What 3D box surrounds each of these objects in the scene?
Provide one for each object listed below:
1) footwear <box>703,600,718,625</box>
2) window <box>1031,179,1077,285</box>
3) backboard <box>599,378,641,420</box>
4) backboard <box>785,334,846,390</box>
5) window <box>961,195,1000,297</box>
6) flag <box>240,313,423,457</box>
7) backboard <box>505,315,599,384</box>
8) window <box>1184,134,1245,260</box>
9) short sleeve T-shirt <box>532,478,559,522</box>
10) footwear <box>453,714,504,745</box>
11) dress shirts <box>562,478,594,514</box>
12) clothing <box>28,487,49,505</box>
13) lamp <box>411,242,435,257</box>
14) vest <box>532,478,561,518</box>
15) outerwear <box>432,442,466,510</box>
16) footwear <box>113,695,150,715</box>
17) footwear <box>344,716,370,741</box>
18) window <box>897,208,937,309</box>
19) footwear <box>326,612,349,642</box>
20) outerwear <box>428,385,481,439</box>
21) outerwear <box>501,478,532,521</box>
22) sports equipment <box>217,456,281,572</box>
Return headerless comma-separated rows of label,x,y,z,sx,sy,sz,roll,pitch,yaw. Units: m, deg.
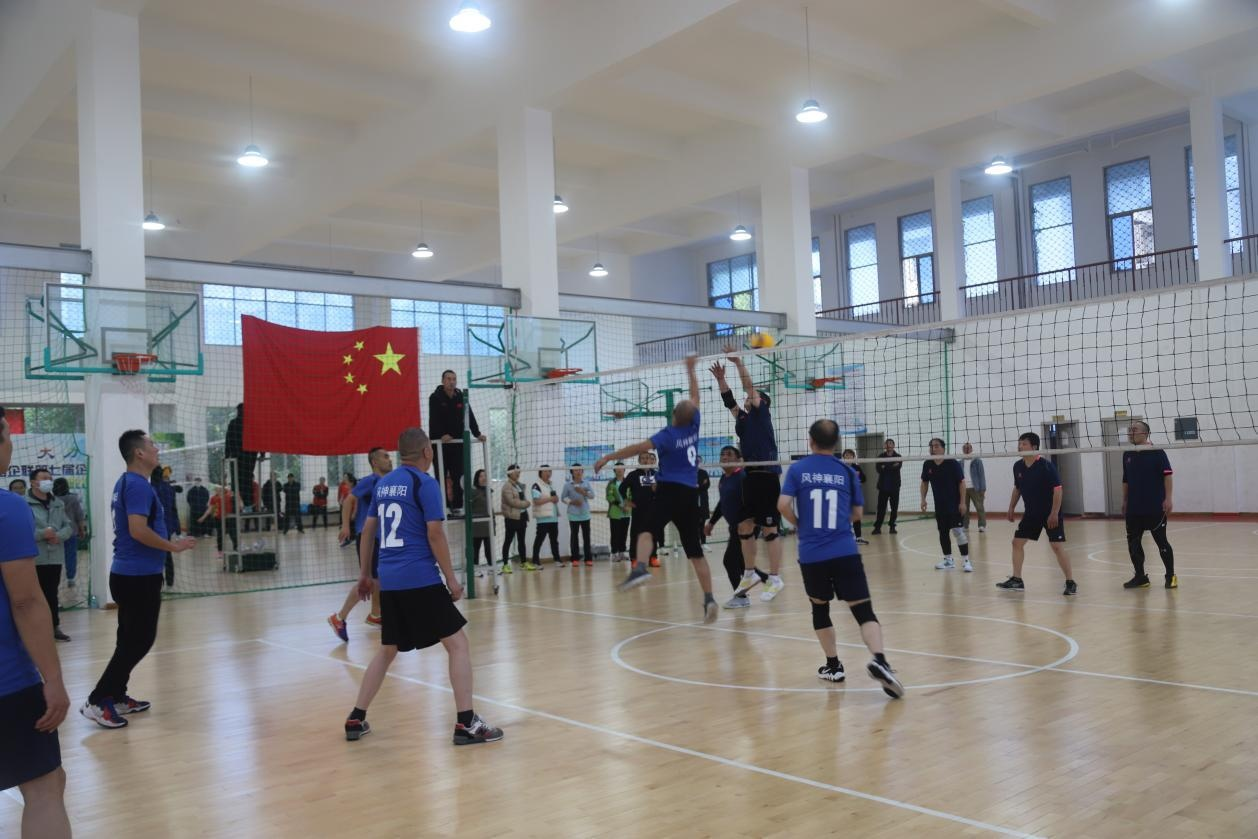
footwear,0.874,2.066,10.318,0.126,0.130,0.313,2,-40,-5
window,9.939,-4.296,22.985,0.938,0.077,2.335,-6,-47,21
backboard,-0.058,-0.384,18.671,0.712,0.894,1.290,-2,-3,23
backboard,3.449,-1.022,18.975,0.696,0.919,1.333,-11,-2,39
window,8.561,-3.899,23.961,0.860,2.265,0.063,-17,-48,31
flag,-4.515,-0.443,14.853,3.214,2.346,0.142,1,-6,-35
backboard,-1.108,-1.122,15.614,1.728,1.059,0.871,-3,3,-35
window,11.558,-4.558,19.367,0.983,2.529,2.737,-5,-3,30
short sleeve T-shirt,-1.372,1.327,16.105,0.422,0.708,0.696,-12,-8,17
footwear,-1.230,2.491,7.935,0.478,0.224,0.180,2,-3,-11
dress shirts,-0.868,1.294,16.159,0.687,0.726,0.488,0,-7,-15
clothing,-7.076,0.905,11.855,0.256,0.146,0.195,11,-8,35
lamp,-5.027,-4.164,24.081,0.708,0.302,0.686,0,-6,-15
vest,-1.354,1.278,16.136,0.383,0.598,0.641,-10,-7,13
outerwear,-2.794,0.853,15.188,0.586,0.995,0.554,12,0,-2
footwear,-4.435,2.545,8.787,0.308,0.132,0.114,3,1,-28
footwear,-2.228,2.524,8.051,0.111,0.110,0.264,0,0,3
window,7.475,-4.199,25.377,0.898,2.118,0.093,-14,21,-12
footwear,-3.261,2.335,11.026,0.159,0.338,0.126,-25,5,7
outerwear,-2.641,-0.064,14.599,0.708,0.835,0.579,0,-3,-22
outerwear,-1.916,1.259,15.698,0.575,0.761,0.684,-5,-5,10
sports equipment,-6.520,1.711,17.287,0.828,1.855,0.800,0,-11,-31
